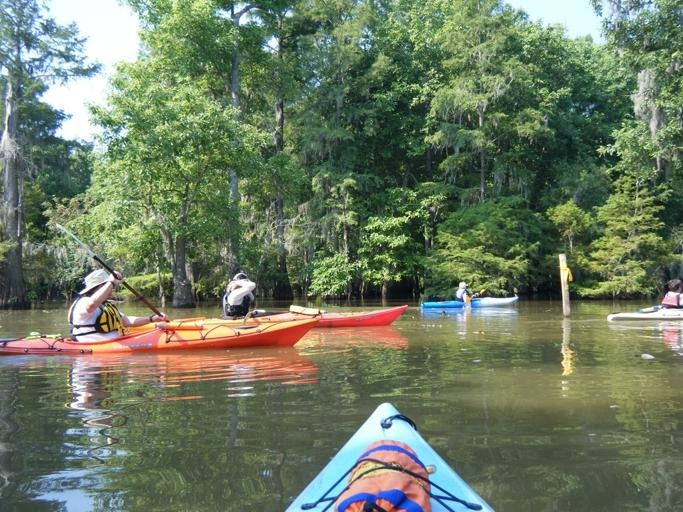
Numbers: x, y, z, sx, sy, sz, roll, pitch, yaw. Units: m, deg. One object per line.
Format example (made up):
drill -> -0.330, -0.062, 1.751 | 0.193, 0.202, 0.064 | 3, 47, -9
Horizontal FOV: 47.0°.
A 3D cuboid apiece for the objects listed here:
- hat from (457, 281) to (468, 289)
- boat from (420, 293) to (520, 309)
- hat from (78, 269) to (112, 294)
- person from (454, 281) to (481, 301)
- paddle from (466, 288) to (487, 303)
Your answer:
hat -> 4.972, 1.216, 32.076 | 0.295, 0.231, 0.441 | -1, 11, 34
boat -> 5.359, 1.917, 32.382 | 4.713, 0.587, 1.560 | 3, -8, -37
hat -> -6.041, 0.608, 19.454 | 0.673, 0.259, 0.608 | -35, -2, -29
person -> 5.320, 1.457, 32.848 | 1.387, 0.803, 0.673 | -4, 6, -44
paddle -> 5.773, 1.689, 33.823 | 0.285, 0.419, 1.564 | -10, 2, 40
